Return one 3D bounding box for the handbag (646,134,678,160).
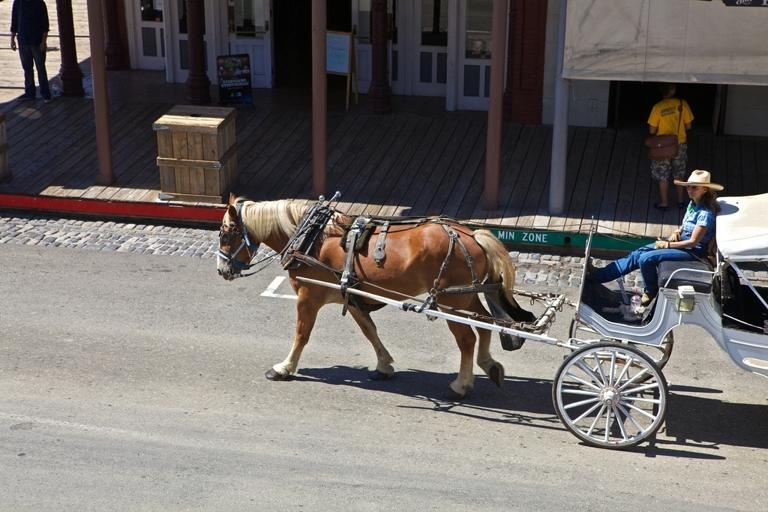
[{"bbox_3d":[5.045,-1.963,20.763,0.566,0.399,0.199,1,10,27],"label":"handbag"}]

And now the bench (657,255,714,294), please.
[{"bbox_3d":[4.108,0.275,15.642,0.711,0.264,0.697,3,15,14],"label":"bench"}]

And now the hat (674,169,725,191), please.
[{"bbox_3d":[4.438,-1.030,16.169,0.616,0.232,0.681,7,-3,10],"label":"hat"}]
